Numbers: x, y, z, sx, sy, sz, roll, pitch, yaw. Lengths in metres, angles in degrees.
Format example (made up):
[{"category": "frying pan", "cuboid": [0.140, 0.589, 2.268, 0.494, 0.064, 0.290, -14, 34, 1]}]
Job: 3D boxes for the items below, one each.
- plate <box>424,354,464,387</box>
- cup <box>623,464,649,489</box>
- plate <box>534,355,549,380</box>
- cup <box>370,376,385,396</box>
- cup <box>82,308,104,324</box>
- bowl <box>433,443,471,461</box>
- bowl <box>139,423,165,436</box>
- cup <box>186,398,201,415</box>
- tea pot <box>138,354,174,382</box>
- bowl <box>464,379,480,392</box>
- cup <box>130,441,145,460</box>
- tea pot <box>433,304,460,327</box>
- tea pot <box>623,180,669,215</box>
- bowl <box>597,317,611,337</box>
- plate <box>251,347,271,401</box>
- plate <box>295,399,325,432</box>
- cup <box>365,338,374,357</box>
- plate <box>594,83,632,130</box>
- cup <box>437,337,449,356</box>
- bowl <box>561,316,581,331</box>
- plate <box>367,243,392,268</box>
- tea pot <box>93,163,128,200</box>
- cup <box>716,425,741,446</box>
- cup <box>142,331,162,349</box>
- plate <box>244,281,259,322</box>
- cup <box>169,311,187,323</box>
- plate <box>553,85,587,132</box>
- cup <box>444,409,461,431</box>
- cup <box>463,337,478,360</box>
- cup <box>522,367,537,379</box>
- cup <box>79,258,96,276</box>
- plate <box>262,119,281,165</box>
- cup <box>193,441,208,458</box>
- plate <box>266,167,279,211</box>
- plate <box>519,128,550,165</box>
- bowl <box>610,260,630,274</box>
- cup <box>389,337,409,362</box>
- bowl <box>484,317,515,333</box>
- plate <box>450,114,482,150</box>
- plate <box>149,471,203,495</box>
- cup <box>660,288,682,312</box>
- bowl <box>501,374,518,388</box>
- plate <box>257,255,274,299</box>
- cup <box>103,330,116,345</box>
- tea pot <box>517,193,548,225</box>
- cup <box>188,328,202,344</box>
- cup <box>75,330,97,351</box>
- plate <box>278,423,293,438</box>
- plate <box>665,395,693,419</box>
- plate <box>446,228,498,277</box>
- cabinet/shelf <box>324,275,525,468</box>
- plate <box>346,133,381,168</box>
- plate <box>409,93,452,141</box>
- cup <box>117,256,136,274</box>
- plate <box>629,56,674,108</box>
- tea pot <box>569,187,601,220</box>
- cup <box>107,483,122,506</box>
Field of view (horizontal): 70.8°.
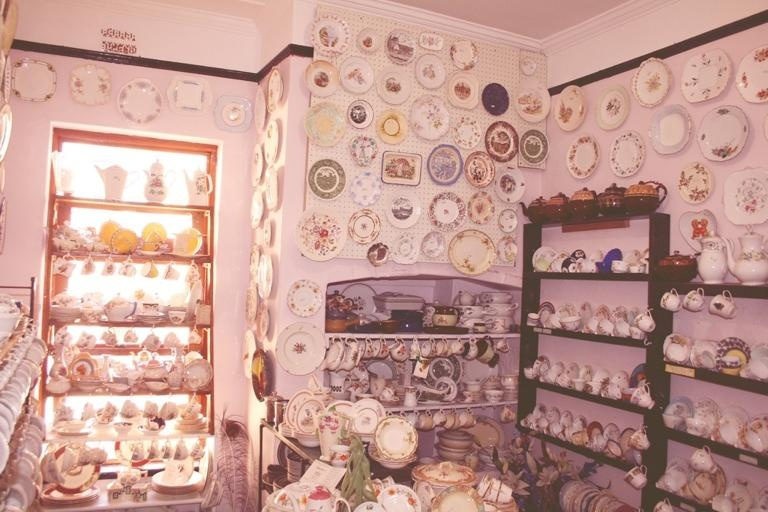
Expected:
[{"category": "plate", "cuboid": [0.517, 1.001, 4.696, 0.301, 0.327, 0.082, -3, -3, -6]}, {"category": "cup", "cuboid": [1.786, 1.549, 3.808, 0.168, 0.123, 0.118, 13, 23, -34]}, {"category": "plate", "cuboid": [1.349, 0.944, 4.538, 0.107, 0.188, 0.062, -11, -19, 37]}, {"category": "cup", "cuboid": [-0.044, 1.084, 4.483, 0.122, 0.168, 0.126, 4, -11, 1]}, {"category": "cup", "cuboid": [-2.423, 0.498, 4.479, 0.143, 0.130, 0.116, 1, 2, -30]}, {"category": "bowl", "cuboid": [0.600, 1.692, 4.584, 0.301, 0.097, 0.232, 2, 2, 13]}, {"category": "bowl", "cuboid": [-1.971, 1.441, 4.542, 0.198, 0.097, 0.123, 2, 1, -8]}, {"category": "cup", "cuboid": [-1.675, 1.320, 4.720, 0.115, 0.107, 0.115, 2, 1, 0]}, {"category": "tea pot", "cuboid": [-1.955, 0.973, 4.642, 0.180, 0.184, 0.242, -7, -11, 40]}, {"category": "bowl", "cuboid": [0.787, 1.144, 4.735, 0.103, 0.078, 0.083, 2, -13, -6]}, {"category": "cup", "cuboid": [-2.083, 1.674, 4.614, 0.128, 0.135, 0.159, 21, -18, -16]}, {"category": "tea pot", "cuboid": [0.553, 0.522, 4.682, 0.189, 0.146, 0.155, 5, -14, -12]}, {"category": "tea pot", "cuboid": [1.944, -0.405, 3.938, 0.294, 0.267, 0.241, -1, 0, -2]}, {"category": "bowl", "cuboid": [1.685, 0.544, 4.075, 0.075, 0.110, 0.132, 1, 2, -29]}, {"category": "plate", "cuboid": [-1.001, 0.984, 4.409, 0.082, 0.370, 0.341, 0, 8, -32]}, {"category": "plate", "cuboid": [-0.546, 1.170, 3.953, 0.189, 0.243, 0.048, 12, 10, 27]}, {"category": "cup", "cuboid": [-0.115, 0.735, 4.324, 0.074, 0.136, 0.124, 1, 2, -3]}, {"category": "plate", "cuboid": [1.839, -1.201, 4.375, 0.039, 0.306, 0.287, 4, 4, -33]}, {"category": "cup", "cuboid": [0.496, 0.763, 4.505, 0.092, 0.139, 0.043, 4, -2, -7]}, {"category": "bowl", "cuboid": [1.499, 0.542, 4.313, 0.113, 0.079, 0.118, 0, -8, 0]}, {"category": "plate", "cuboid": [-0.011, 0.000, 4.358, 0.173, 0.187, 0.053, 3, 1, -25]}, {"category": "tea pot", "cuboid": [-2.382, -0.635, 4.658, 0.304, 0.330, 0.165, 3, 2, -29]}, {"category": "cup", "cuboid": [2.240, 1.134, 3.463, 0.053, 0.126, 0.121, 28, -20, -22]}, {"category": "cup", "cuboid": [-2.004, 0.726, 4.661, 0.119, 0.145, 0.138, -1, 0, -8]}, {"category": "plate", "cuboid": [-1.163, 0.423, 4.748, 0.057, 0.296, 0.237, 3, 11, -26]}, {"category": "cup", "cuboid": [-1.773, 0.530, 4.658, 0.195, 0.121, 0.078, 3, 1, 24]}, {"category": "plate", "cuboid": [1.639, -1.277, 4.715, 0.076, 0.340, 0.295, 0, 8, -30]}, {"category": "cup", "cuboid": [0.594, 1.409, 4.633, 0.137, 0.119, 0.168, 2, 2, 10]}, {"category": "cup", "cuboid": [0.765, 0.803, 4.677, 0.082, 0.198, 0.118, 3, 7, -14]}, {"category": "cup", "cuboid": [1.248, 0.995, 4.554, 0.088, 0.062, 0.079, -1, -2, 12]}, {"category": "cup", "cuboid": [-2.549, 0.090, 4.627, 0.107, 0.152, 0.193, 1, 2, -29]}, {"category": "plate", "cuboid": [-0.913, -0.943, 4.470, 0.060, 0.334, 0.312, 0, -4, -28]}, {"category": "cup", "cuboid": [-1.585, 1.678, 4.652, 0.053, 0.171, 0.119, 5, -16, -37]}, {"category": "plate", "cuboid": [-0.909, -0.528, 4.406, 0.069, 0.294, 0.167, 0, 1, -38]}, {"category": "plate", "cuboid": [1.373, -0.970, 4.889, 0.289, 0.314, 0.068, 2, 3, -19]}, {"category": "bowl", "cuboid": [1.775, 0.091, 3.998, 0.085, 0.068, 0.087, 0, -17, 0]}, {"category": "cup", "cuboid": [0.155, 0.769, 4.440, 0.133, 0.174, 0.188, 9, 43, 14]}, {"category": "bowl", "cuboid": [1.039, 0.617, 4.768, 0.153, 0.103, 0.160, 0, -2, 0]}, {"category": "plate", "cuboid": [0.737, -1.058, 4.675, 0.264, 0.285, 0.062, -2, 7, -23]}, {"category": "plate", "cuboid": [-1.738, 1.923, 4.517, 0.214, 0.071, 0.223, 0, -4, 11]}, {"category": "cup", "cuboid": [2.011, 0.313, 3.745, 0.114, 0.167, 0.071, -5, 8, -9]}, {"category": "bowl", "cuboid": [1.127, 1.121, 4.796, 0.121, 0.092, 0.099, 7, -13, -20]}, {"category": "plate", "cuboid": [-0.993, 0.174, 4.501, 0.049, 0.361, 0.404, 1, 2, -26]}, {"category": "cup", "cuboid": [-2.326, 0.695, 4.560, 0.107, 0.123, 0.078, 3, 1, 30]}, {"category": "tea pot", "cuboid": [1.280, -0.378, 4.615, 0.247, 0.186, 0.194, 5, 3, 22]}, {"category": "cup", "cuboid": [-1.705, 0.724, 4.847, 0.136, 0.146, 0.077, 5, 4, -25]}, {"category": "cup", "cuboid": [-2.521, 0.707, 4.561, 0.144, 0.133, 0.075, 1, 1, -20]}, {"category": "plate", "cuboid": [-0.716, 1.281, 3.961, 0.083, 0.055, 0.087, 5, 1, -1]}, {"category": "plate", "cuboid": [2.065, 1.060, 3.750, 0.136, 0.147, 0.053, 5, 3, 22]}, {"category": "plate", "cuboid": [0.764, -0.023, 4.651, 0.380, 0.412, 0.081, 4, 6, -15]}, {"category": "cabinet/shelf", "cuboid": [0.332, 0.964, 4.425, 1.539, 1.555, 0.467, 1, 2, -18]}, {"category": "plate", "cuboid": [-0.156, -0.849, 4.408, 0.238, 0.245, 0.061, 2, -1, -31]}, {"category": "plate", "cuboid": [0.406, -1.163, 4.566, 0.345, 0.373, 0.080, -2, -1, -24]}, {"category": "cup", "cuboid": [-2.236, 0.086, 4.687, 0.124, 0.178, 0.182, 1, 2, -27]}, {"category": "plate", "cuboid": [2.075, -1.315, 4.149, 0.073, 0.324, 0.294, 1, -17, -28]}, {"category": "tea pot", "cuboid": [1.571, -0.378, 4.243, 0.229, 0.267, 0.234, 2, -5, 0]}, {"category": "cup", "cuboid": [-2.177, 1.922, 4.354, 0.115, 0.147, 0.119, 5, 4, 0]}]
